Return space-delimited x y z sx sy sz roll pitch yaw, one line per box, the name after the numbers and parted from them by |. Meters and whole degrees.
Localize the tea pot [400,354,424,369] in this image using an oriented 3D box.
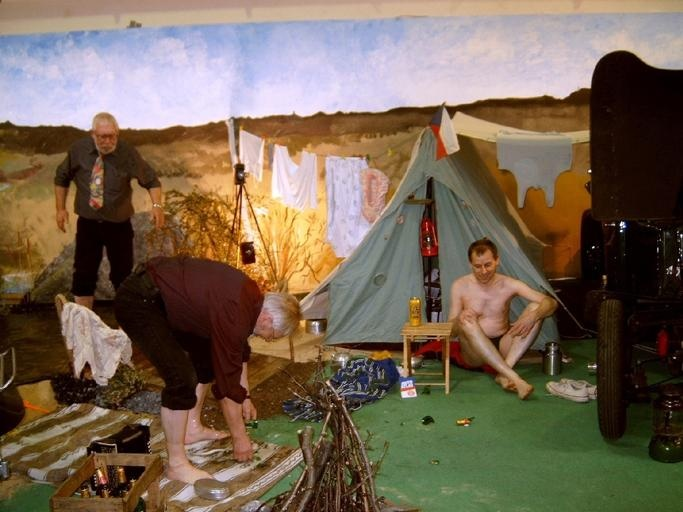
0.725 1.069 5.666 0.187 0.095 0.261 0 -6 3 | tea pot

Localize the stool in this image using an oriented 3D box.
0.845 0.960 5.402 0.504 0.607 0.530 -1 -3 5 | stool

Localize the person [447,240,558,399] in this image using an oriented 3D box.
1.539 0.463 5.715 1.141 1.427 1.379 -7 12 -5 | person

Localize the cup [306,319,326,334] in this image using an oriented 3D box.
-0.319 0.845 6.769 0.190 0.120 0.194 1 7 0 | cup

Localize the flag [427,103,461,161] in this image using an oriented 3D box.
1.121 -1.346 6.070 0.301 0.566 0.491 2 13 11 | flag

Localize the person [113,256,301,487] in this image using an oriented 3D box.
-0.915 0.753 3.907 1.198 1.530 0.606 -1 13 0 | person

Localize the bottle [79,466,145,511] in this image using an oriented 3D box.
-1.487 1.451 3.578 0.314 0.080 0.301 1 -3 0 | bottle

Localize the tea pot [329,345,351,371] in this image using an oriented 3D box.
-0.013 1.043 5.721 0.176 0.156 0.179 0 -5 0 | tea pot

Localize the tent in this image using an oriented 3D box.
0.955 -0.059 7.161 2.684 2.078 2.547 -3 8 0 | tent

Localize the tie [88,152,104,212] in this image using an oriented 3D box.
-2.334 -0.699 5.298 0.125 0.498 0.176 -2 13 -5 | tie
